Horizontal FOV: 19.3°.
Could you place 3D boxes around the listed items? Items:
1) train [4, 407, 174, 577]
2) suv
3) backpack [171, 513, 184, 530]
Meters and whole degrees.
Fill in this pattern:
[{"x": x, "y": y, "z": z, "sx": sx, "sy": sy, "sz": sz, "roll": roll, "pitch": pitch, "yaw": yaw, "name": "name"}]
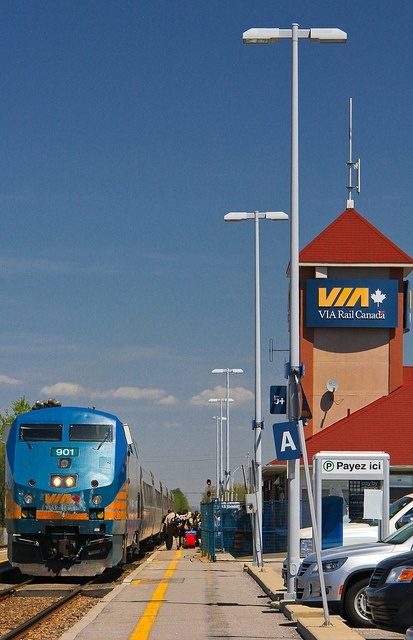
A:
[{"x": -2.962, "y": 4.138, "z": 28.363, "sx": 2.026, "sy": 4.146, "sz": 12.663, "roll": 0, "pitch": -9, "yaw": 1, "name": "train"}, {"x": 2.839, "y": 3.933, "z": 21.932, "sx": 2.972, "sy": 1.989, "sz": 1.627, "roll": 1, "pitch": -7, "yaw": -8, "name": "suv"}, {"x": -1.043, "y": 6.832, "z": 40.956, "sx": 0.301, "sy": 0.554, "sz": 0.471, "roll": 5, "pitch": -2, "yaw": 15, "name": "backpack"}]
